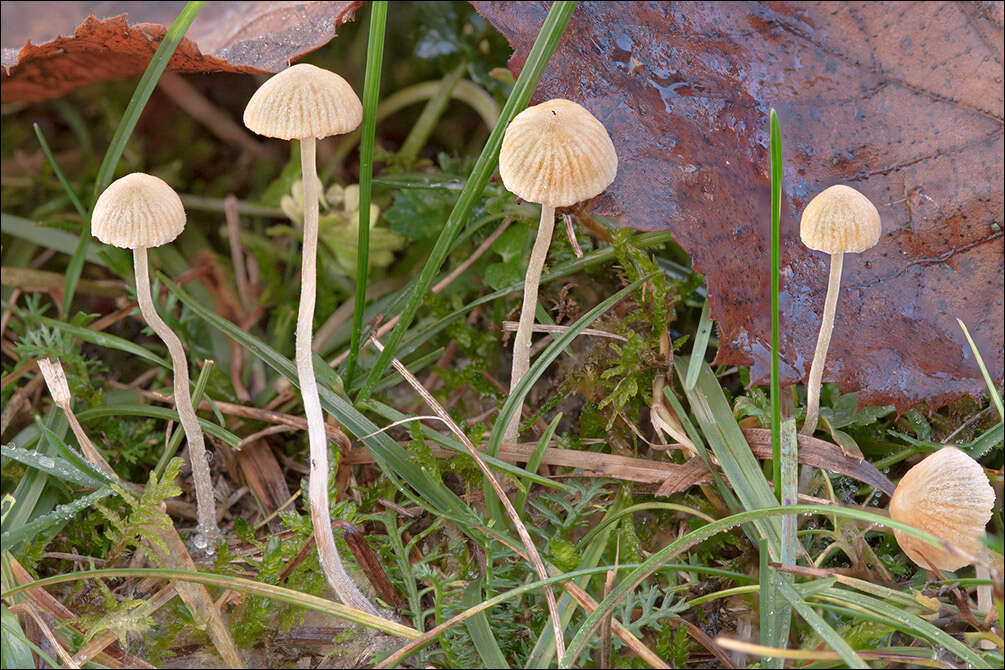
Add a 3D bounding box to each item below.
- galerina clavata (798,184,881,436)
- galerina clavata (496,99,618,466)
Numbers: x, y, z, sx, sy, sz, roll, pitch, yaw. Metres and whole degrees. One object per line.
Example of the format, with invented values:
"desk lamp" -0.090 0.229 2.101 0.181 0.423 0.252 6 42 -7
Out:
"galerina clavata" 0.961 -0.058 2.661 0.207 0.777 0.381 13 11 20
"galerina clavata" 0.105 -0.147 2.633 0.334 1.087 0.320 10 11 5
